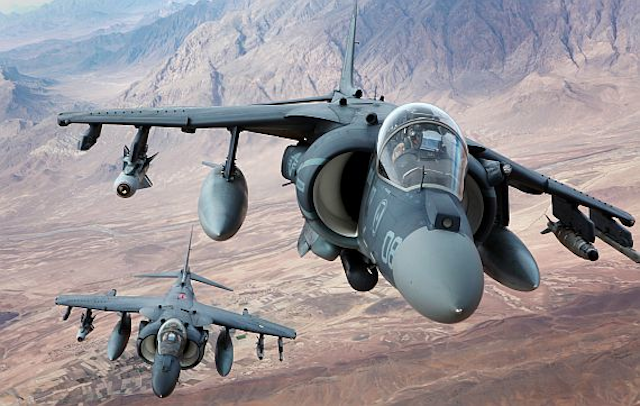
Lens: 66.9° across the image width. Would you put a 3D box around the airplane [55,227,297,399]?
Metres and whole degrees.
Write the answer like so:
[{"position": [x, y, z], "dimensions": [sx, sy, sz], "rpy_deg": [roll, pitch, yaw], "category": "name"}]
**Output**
[{"position": [-17.830, 14.229, 61.694], "dimensions": [17.913, 6.137, 15.761], "rpy_deg": [5, 27, -6], "category": "airplane"}]
